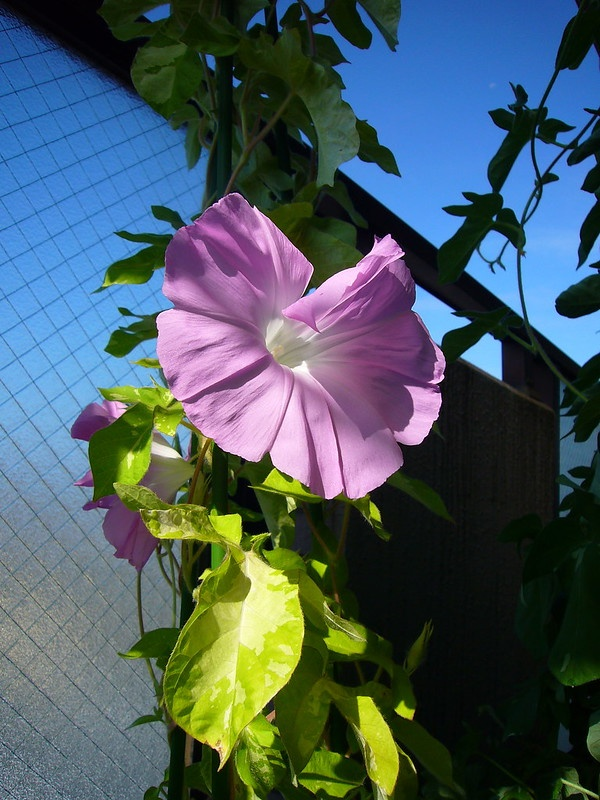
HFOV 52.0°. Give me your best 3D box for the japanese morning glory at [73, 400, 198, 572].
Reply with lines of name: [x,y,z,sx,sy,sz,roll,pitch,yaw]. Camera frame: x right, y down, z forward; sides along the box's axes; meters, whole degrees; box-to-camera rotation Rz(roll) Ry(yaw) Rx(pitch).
japanese morning glory: [-0.135,0.073,0.516,0.132,0.052,0.143,60,5,-3]
